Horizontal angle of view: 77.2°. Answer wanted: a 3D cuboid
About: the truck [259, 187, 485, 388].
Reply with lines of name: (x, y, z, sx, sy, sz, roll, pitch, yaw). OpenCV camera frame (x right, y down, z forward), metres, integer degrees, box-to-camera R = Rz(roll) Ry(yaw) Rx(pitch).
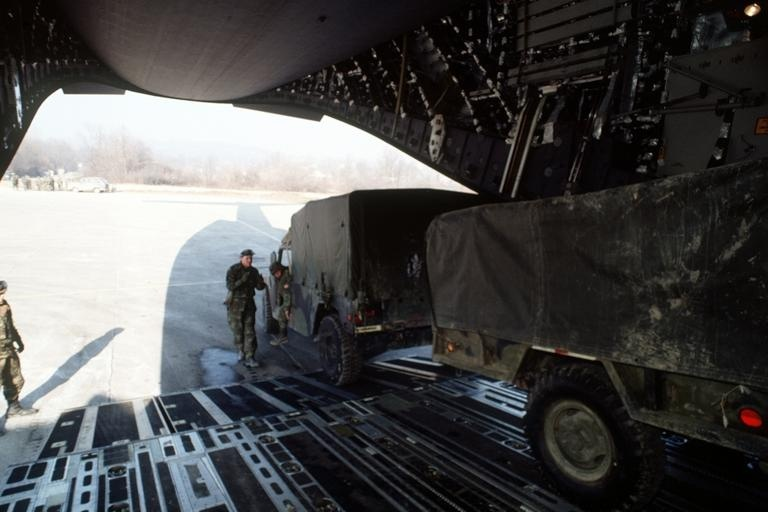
truck: (-0.750, 0.189, 10.172, 2.625, 2.759, 4.593, -3, 12, -24)

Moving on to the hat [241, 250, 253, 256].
hat: (-2.916, -0.052, 10.106, 0.193, 0.075, 0.167, -7, -3, 21)

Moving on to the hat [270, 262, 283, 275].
hat: (-2.514, 0.304, 11.130, 0.235, 0.277, 0.309, 1, 21, 0)

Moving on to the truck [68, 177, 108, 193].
truck: (-24.055, -5.616, 38.908, 2.541, 1.185, 1.406, 0, 3, -26)

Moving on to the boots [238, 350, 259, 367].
boots: (-2.965, 2.246, 10.461, 0.215, 0.302, 0.676, 1, -4, -44)
